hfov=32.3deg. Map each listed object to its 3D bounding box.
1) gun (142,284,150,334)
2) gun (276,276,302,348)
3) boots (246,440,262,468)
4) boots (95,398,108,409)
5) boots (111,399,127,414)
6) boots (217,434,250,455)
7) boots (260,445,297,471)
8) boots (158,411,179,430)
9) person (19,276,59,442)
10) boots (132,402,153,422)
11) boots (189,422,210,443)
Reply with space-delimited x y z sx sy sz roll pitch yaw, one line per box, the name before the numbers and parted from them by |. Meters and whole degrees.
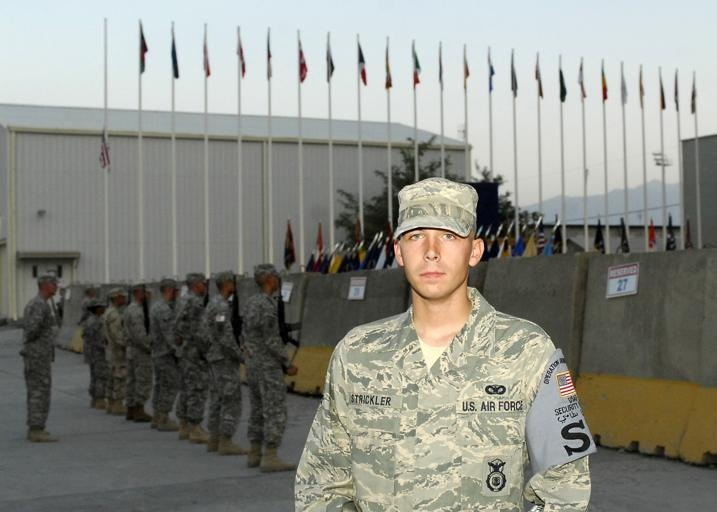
gun | -5.380 1.409 31.393 0.149 1.196 0.415 2 9 -2
gun | -1.438 1.465 26.865 0.561 1.903 0.750 -2 7 -27
boots | -2.165 4.128 25.916 0.308 0.438 0.313 1 0 -5
boots | -6.510 3.743 31.352 0.242 0.202 0.258 -1 2 -3
boots | -5.982 3.737 30.872 0.300 0.325 0.315 0 -10 -1
boots | -2.729 4.072 26.909 0.743 0.573 0.302 0 1 -9
boots | -1.675 4.192 25.723 0.723 0.422 0.355 1 0 -7
boots | -4.432 3.888 29.089 0.522 0.562 0.253 0 0 -9
person | -7.222 2.290 27.967 0.733 2.867 0.928 1 0 -12
boots | -5.328 3.812 30.116 0.652 0.654 0.244 0 0 -14
boots | -3.563 3.976 27.922 0.523 0.553 0.275 0 0 -8
